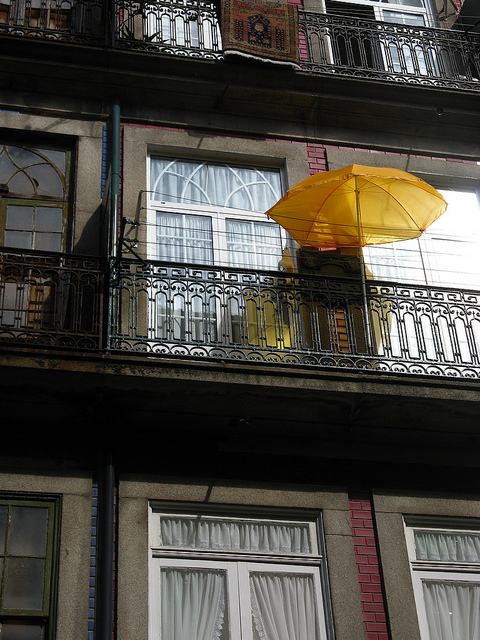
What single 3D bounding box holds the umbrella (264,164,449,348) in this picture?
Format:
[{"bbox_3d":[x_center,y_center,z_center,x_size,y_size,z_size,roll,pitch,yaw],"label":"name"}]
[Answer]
[{"bbox_3d":[1.289,-0.655,9.178,1.515,1.698,1.441,0,-33,-5],"label":"umbrella"}]
